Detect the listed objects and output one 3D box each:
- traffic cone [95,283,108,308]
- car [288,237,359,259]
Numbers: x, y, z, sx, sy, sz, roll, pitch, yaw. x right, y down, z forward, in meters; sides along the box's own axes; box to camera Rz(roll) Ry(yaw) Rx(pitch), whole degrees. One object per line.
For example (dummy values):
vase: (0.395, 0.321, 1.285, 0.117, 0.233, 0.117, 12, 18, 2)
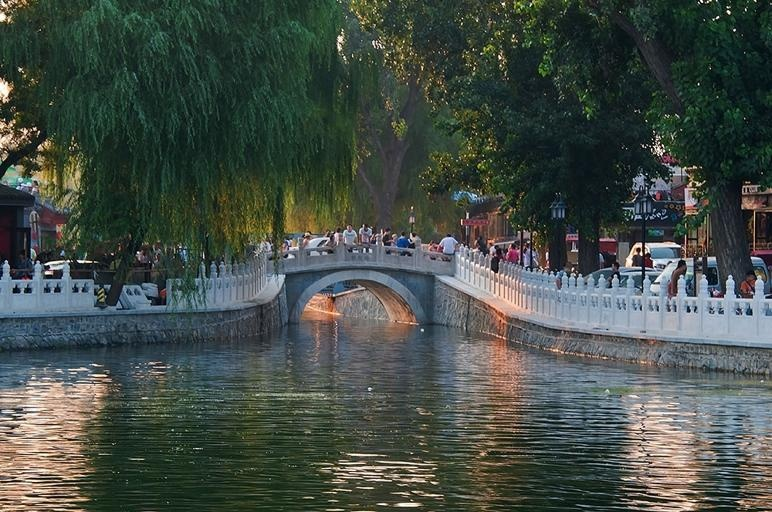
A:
traffic cone: (-8.713, 1.285, 47.553, 0.368, 0.771, 0.941, 1, -6, -11)
car: (-2.857, -0.183, 64.916, 2.050, 0.777, 1.269, -5, 5, -18)
